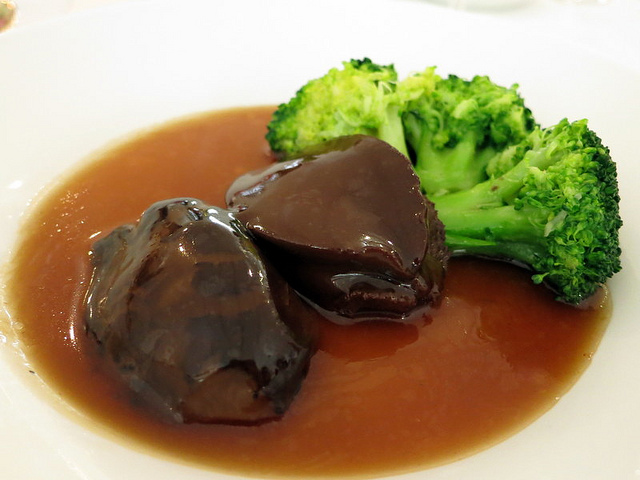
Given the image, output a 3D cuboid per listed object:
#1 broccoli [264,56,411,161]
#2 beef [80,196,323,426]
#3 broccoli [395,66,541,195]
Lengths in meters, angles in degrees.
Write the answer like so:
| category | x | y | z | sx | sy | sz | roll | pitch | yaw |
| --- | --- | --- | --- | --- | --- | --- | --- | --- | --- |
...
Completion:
| category | x | y | z | sx | sy | sz | roll | pitch | yaw |
| --- | --- | --- | --- | --- | --- | --- | --- | --- | --- |
| broccoli | 0.058 | -0.745 | 3.468 | 0.622 | 0.639 | 0.762 | -16 | 27 | -24 |
| beef | -0.537 | 0.367 | 2.598 | 0.858 | 0.445 | 1.006 | -34 | 63 | -15 |
| broccoli | 0.841 | -0.623 | 3.601 | 0.764 | 0.774 | 0.578 | 1 | 31 | -3 |
